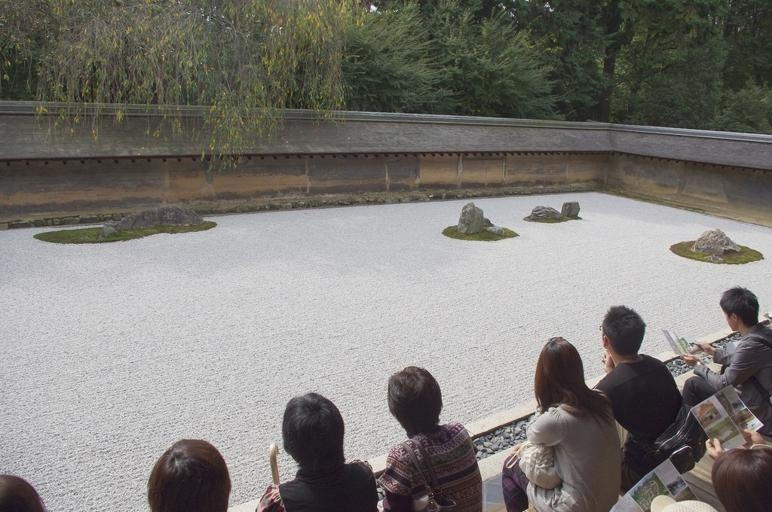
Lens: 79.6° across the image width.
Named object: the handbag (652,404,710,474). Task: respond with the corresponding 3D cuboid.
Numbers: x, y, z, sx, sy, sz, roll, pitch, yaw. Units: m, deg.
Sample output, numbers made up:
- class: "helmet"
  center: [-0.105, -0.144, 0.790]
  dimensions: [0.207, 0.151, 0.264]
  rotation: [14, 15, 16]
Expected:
- class: "handbag"
  center: [2.549, 1.559, 3.971]
  dimensions: [0.556, 0.573, 0.165]
  rotation: [-5, 7, -27]
